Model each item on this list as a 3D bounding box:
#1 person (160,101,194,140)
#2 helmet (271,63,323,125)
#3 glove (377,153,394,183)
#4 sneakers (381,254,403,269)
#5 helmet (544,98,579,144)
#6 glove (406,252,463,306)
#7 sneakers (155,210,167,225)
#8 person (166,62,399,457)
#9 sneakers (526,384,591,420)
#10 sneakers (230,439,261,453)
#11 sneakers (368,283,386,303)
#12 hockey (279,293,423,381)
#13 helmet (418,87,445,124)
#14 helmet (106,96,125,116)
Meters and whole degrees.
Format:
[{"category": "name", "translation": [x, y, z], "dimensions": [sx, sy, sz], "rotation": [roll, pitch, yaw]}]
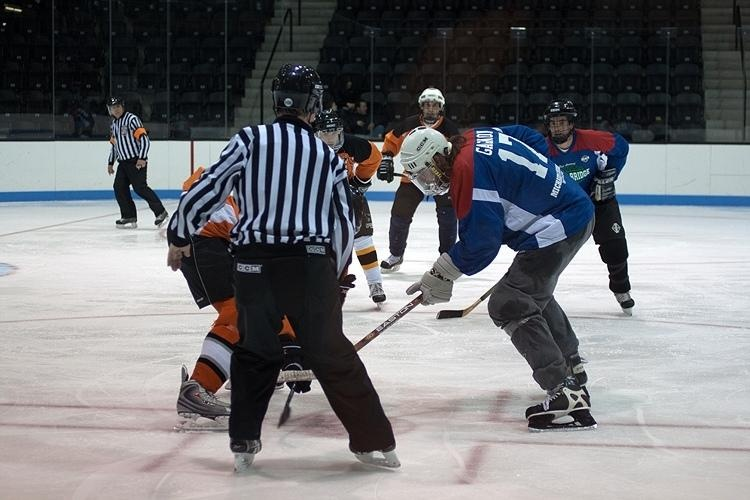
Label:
[{"category": "person", "translation": [-3.878, -2.406, 13.987], "dimensions": [0.659, 0.813, 0.694], "rotation": [-3, 15, -20]}, {"category": "helmet", "translation": [-0.344, -0.697, 3.306], "dimensions": [0.240, 0.266, 0.277], "rotation": [6, 11, 8]}, {"category": "glove", "translation": [0.122, -0.808, 7.239], "dimensions": [0.233, 0.271, 0.124], "rotation": [-3, -22, 18]}, {"category": "sneakers", "translation": [0.191, 0.121, 7.476], "dimensions": [0.095, 0.107, 0.279], "rotation": [2, 8, 34]}, {"category": "helmet", "translation": [1.290, -0.889, 5.195], "dimensions": [0.247, 0.281, 0.310], "rotation": [-4, 14, 19]}, {"category": "glove", "translation": [0.333, 0.164, 3.838], "dimensions": [0.208, 0.313, 0.139], "rotation": [39, 23, 4]}, {"category": "sneakers", "translation": [-2.995, -0.461, 10.466], "dimensions": [0.096, 0.109, 0.263], "rotation": [10, 33, 2]}, {"category": "person", "translation": [-0.405, 0.072, 3.305], "dimensions": [0.927, 1.764, 0.476], "rotation": [-1, 9, -11]}, {"category": "sneakers", "translation": [0.847, 0.737, 3.708], "dimensions": [0.420, 0.188, 0.128], "rotation": [-2, 13, 1]}, {"category": "sneakers", "translation": [-0.549, 0.865, 3.294], "dimensions": [0.066, 0.053, 0.158], "rotation": [-34, -32, 25]}, {"category": "sneakers", "translation": [0.016, 0.341, 5.949], "dimensions": [0.168, 0.161, 0.429], "rotation": [-2, -2, -4]}, {"category": "hockey", "translation": [-0.158, 0.495, 3.990], "dimensions": [0.956, 0.074, 0.350], "rotation": [-16, -25, 19]}, {"category": "helmet", "translation": [0.550, -1.382, 7.194], "dimensions": [0.215, 0.358, 0.362], "rotation": [1, 9, 3]}, {"category": "helmet", "translation": [-3.614, -2.001, 10.479], "dimensions": [0.195, 0.267, 0.392], "rotation": [-3, 9, -20]}]
